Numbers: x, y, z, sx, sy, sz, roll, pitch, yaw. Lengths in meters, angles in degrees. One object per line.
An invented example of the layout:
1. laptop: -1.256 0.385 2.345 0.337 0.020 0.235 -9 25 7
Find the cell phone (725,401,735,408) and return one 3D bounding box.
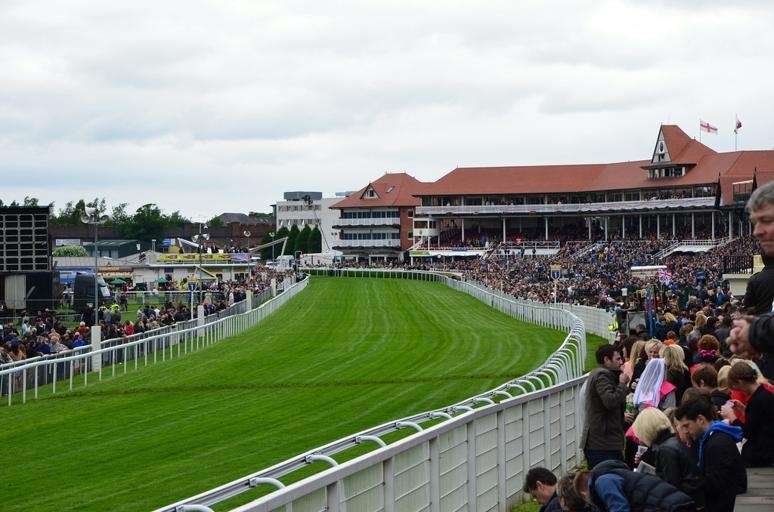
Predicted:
1. cell phone: 6.633 2.917 27.479 0.113 0.105 0.289 -2 1 23
